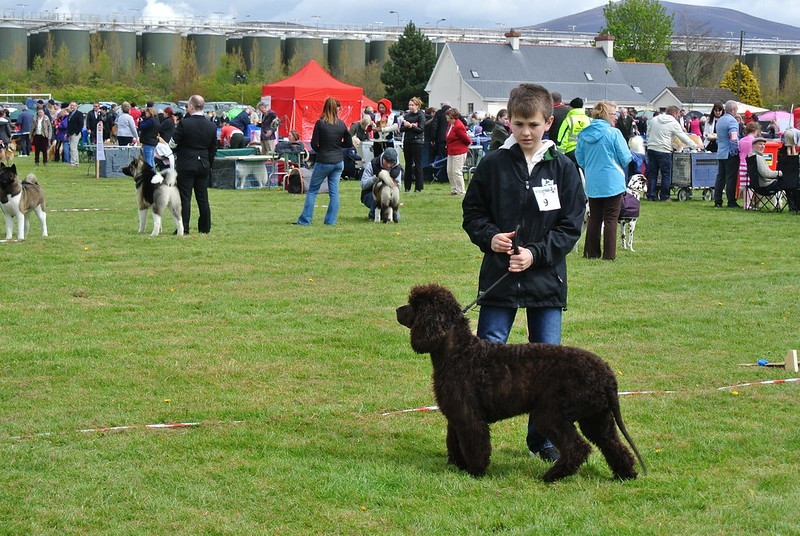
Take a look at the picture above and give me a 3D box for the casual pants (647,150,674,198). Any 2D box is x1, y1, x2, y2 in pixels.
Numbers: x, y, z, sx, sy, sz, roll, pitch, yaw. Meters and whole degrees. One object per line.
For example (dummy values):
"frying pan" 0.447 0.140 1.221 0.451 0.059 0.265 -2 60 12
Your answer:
"casual pants" 6.922 -2.547 35.462 0.536 1.612 0.467 9 25 30

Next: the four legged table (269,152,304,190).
"four legged table" -3.269 -2.763 37.910 0.572 1.094 0.555 16 -4 -42

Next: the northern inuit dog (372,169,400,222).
"northern inuit dog" -0.317 -1.674 31.337 0.599 1.283 0.659 0 11 -2

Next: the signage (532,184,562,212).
"signage" 2.315 -1.103 21.108 0.266 0.364 0.026 -13 -1 -9

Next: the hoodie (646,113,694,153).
"hoodie" 7.016 -3.513 34.645 0.983 1.034 0.613 3 11 10

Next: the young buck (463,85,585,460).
"young buck" 1.949 0.010 21.512 1.593 5.900 1.605 4 16 18

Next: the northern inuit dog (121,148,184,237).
"northern inuit dog" -5.568 -1.677 29.901 0.583 1.886 1.721 -4 10 -42

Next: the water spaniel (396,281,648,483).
"water spaniel" 1.924 1.860 21.299 3.766 3.569 1.420 1 14 15

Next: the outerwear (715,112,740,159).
"outerwear" 8.355 -3.358 33.820 0.444 1.215 0.777 -15 21 -32

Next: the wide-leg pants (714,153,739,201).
"wide-leg pants" 8.473 -2.417 34.423 0.517 1.704 0.478 4 26 25

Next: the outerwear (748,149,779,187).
"outerwear" 9.153 -2.432 33.505 0.683 1.023 0.822 -5 13 -11

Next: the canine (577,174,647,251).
"canine" 4.622 -1.171 28.673 1.896 1.797 0.491 0 8 -23

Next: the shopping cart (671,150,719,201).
"shopping cart" 8.060 -2.469 36.145 1.136 1.342 1.203 -1 7 -30
